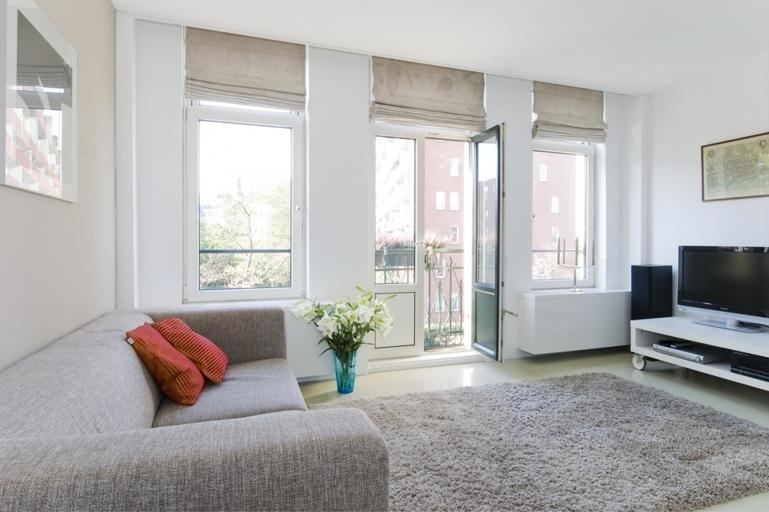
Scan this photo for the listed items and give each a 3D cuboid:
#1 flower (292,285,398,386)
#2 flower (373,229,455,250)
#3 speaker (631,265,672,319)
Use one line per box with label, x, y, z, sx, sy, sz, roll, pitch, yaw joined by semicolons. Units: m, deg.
flower;-0.390;0.741;4.822;0.940;1.059;0.851;3;-4;-13
flower;0.292;-0.195;5.604;0.846;0.239;0.278;-1;-9;-8
speaker;2.883;0.378;5.559;0.426;0.584;0.222;0;4;17
